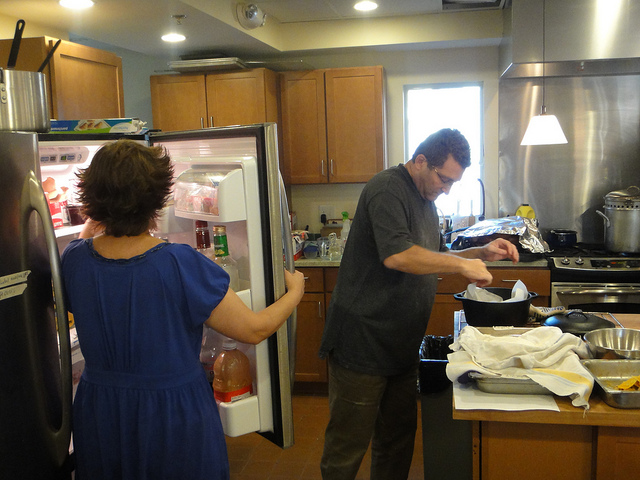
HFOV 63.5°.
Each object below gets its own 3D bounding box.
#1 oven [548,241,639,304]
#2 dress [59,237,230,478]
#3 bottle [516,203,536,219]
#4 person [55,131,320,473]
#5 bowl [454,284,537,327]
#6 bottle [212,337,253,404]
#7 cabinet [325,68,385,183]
[{"bbox_3d":[1.789,0.226,3.502,0.538,0.540,0.371,0,4,7],"label":"oven"},{"bbox_3d":[-0.544,0.378,1.592,0.518,0.771,0.207,1,9,21],"label":"dress"},{"bbox_3d":[1.577,-0.239,3.978,0.104,0.191,0.106,-2,12,0],"label":"bottle"},{"bbox_3d":[-0.486,0.222,1.589,0.652,1.041,0.272,-1,9,11],"label":"person"},{"bbox_3d":[0.765,0.322,2.298,0.313,0.122,0.368,-2,-1,-12],"label":"bowl"},{"bbox_3d":[-0.313,0.484,1.847,0.140,0.249,0.143,-4,2,0],"label":"bottle"},{"bbox_3d":[0.346,-0.872,4.147,0.468,0.953,0.323,-3,-3,27],"label":"cabinet"}]
